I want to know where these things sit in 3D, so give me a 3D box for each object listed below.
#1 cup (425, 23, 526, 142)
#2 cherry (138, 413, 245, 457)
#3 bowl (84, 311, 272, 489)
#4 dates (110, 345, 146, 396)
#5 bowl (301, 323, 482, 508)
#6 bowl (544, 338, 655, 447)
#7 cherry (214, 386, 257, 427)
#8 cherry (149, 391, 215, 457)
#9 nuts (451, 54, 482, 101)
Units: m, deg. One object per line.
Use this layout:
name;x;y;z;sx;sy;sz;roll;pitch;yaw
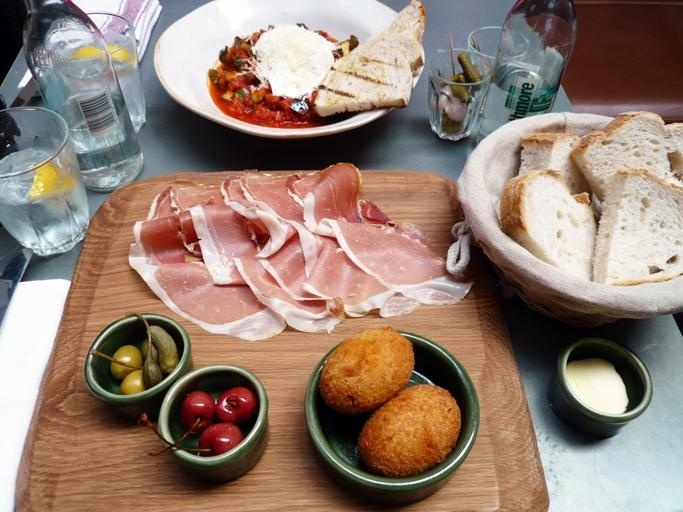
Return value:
cup;0.354;-0.522;1.686;0.277;0.414;0.245;-22;36;-33
cherry;-0.264;0.326;1.018;0.197;0.089;0.087;6;6;-39
bowl;-0.331;0.267;1.138;0.420;0.309;0.282;-20;37;-30
dates;-0.422;0.227;1.090;0.057;0.048;0.104;-16;55;-17
bowl;0.104;0.338;1.090;0.300;0.117;0.333;-3;60;0
bowl;0.533;0.281;1.144;0.164;0.144;0.177;-2;49;3
cherry;-0.197;0.279;1.044;0.066;0.045;0.075;2;71;4
cherry;-0.296;0.316;1.031;0.059;0.073;0.150;19;33;14
nuts;0.356;-0.511;1.570;0.091;0.043;0.170;1;69;-2
